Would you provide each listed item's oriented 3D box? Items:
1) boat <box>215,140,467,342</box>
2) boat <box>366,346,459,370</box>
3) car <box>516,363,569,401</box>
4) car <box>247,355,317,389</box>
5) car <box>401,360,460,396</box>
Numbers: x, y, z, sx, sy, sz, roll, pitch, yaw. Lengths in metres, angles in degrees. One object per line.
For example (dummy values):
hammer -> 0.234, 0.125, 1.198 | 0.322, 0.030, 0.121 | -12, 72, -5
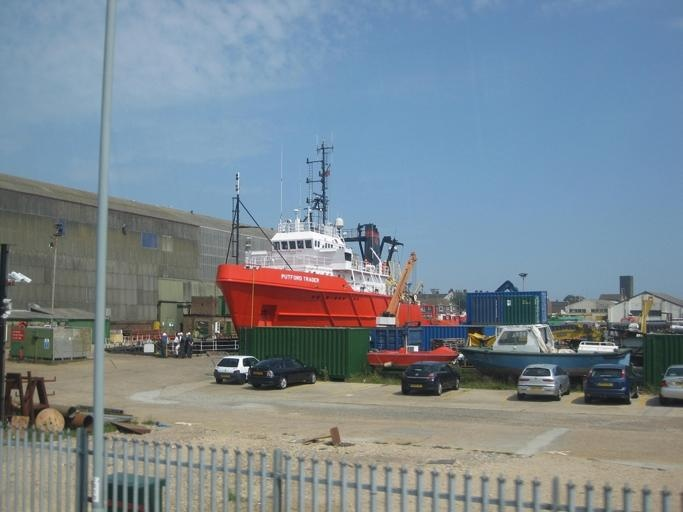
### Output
boat -> -0.831, 1.681, 55.175 | 8.162, 10.819, 13.698 | -4, -4, 24
boat -> 3.180, 4.928, 46.846 | 4.174, 1.126, 1.537 | -1, -3, 13
car -> 7.608, 4.779, 39.605 | 1.611, 1.424, 1.533 | -5, -5, 33
car -> -2.395, 4.999, 44.399 | 1.464, 1.237, 3.653 | -5, -4, 31
car -> 3.714, 4.918, 42.325 | 1.642, 1.324, 3.494 | -1, -1, 24
